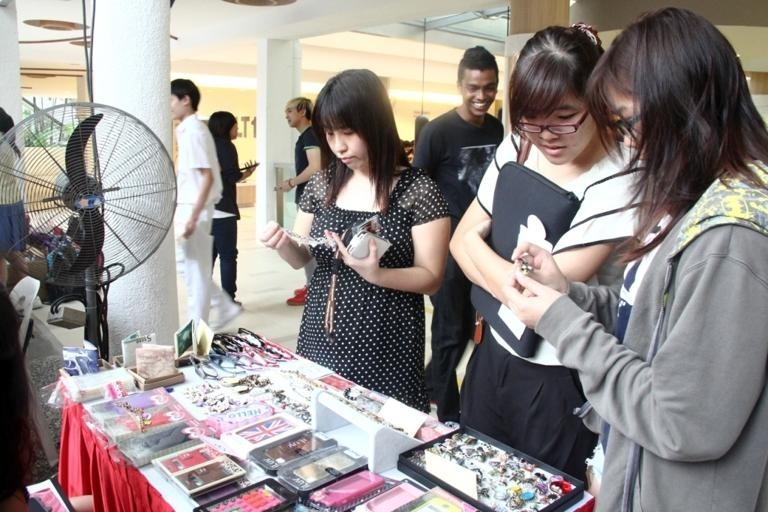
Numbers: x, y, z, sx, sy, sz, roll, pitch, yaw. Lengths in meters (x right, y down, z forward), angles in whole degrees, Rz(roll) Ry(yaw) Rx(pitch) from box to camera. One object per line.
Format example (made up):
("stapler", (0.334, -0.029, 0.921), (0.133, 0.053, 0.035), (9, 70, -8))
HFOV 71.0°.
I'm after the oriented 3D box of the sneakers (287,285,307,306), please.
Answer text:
("sneakers", (-0.860, 0.401, 5.473), (0.173, 0.204, 0.475), (2, -3, 12))
